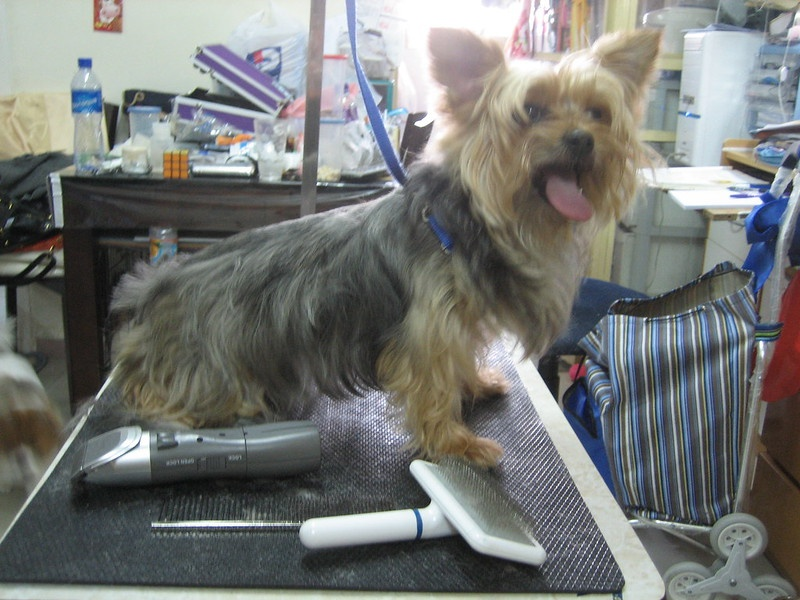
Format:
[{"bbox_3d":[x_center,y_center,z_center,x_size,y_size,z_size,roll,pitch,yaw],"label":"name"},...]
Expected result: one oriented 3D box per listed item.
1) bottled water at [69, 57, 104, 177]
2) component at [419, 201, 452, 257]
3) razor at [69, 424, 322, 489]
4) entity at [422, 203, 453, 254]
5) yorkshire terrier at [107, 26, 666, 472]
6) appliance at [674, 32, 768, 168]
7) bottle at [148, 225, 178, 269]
[{"bbox_3d":[-1.292,-0.764,2.768,0.130,0.450,0.357,-5,16,-24],"label":"bottled water"},{"bbox_3d":[0.072,-0.175,1.632,0.044,0.038,0.155,10,39,-50],"label":"component"},{"bbox_3d":[-0.432,0.330,1.444,0.514,0.102,0.079,-1,15,-8],"label":"razor"},{"bbox_3d":[0.079,-0.170,1.627,0.042,0.043,0.160,13,35,-50],"label":"entity"},{"bbox_3d":[-0.143,-0.138,1.930,1.050,1.287,0.980,5,20,-21],"label":"yorkshire terrier"},{"bbox_3d":[1.523,-0.977,3.262,0.369,0.636,0.209,13,19,37],"label":"appliance"},{"bbox_3d":[-0.947,-0.207,2.703,0.148,0.186,0.156,0,-2,0],"label":"bottle"}]
